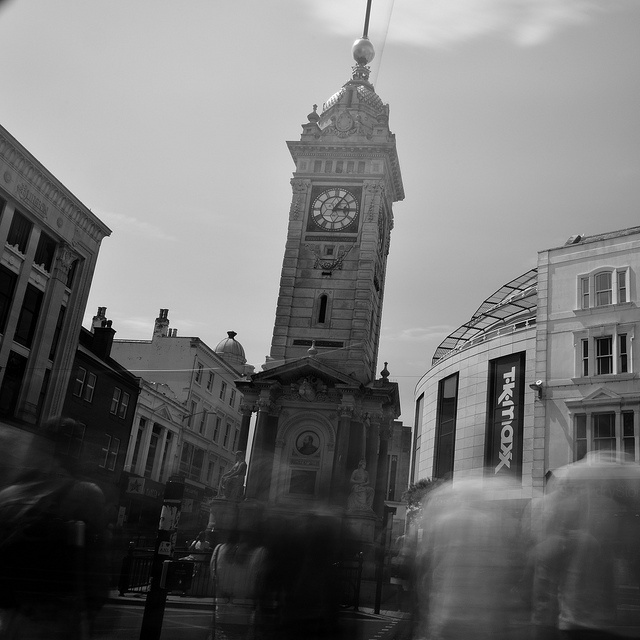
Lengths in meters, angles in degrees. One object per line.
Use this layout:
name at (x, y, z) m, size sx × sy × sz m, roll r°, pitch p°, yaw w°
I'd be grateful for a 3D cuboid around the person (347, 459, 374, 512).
person at (2.063, 8.373, 35.671) m, size 1.154 × 2.644 × 1.356 m, roll 4°, pitch -20°, yaw 2°

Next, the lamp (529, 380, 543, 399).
lamp at (11.081, 3.588, 36.488) m, size 0.564 × 1.088 × 0.870 m, roll 6°, pitch -20°, yaw -3°

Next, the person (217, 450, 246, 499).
person at (-4.433, 7.903, 36.414) m, size 1.410 × 2.614 × 0.959 m, roll 13°, pitch -21°, yaw -21°
